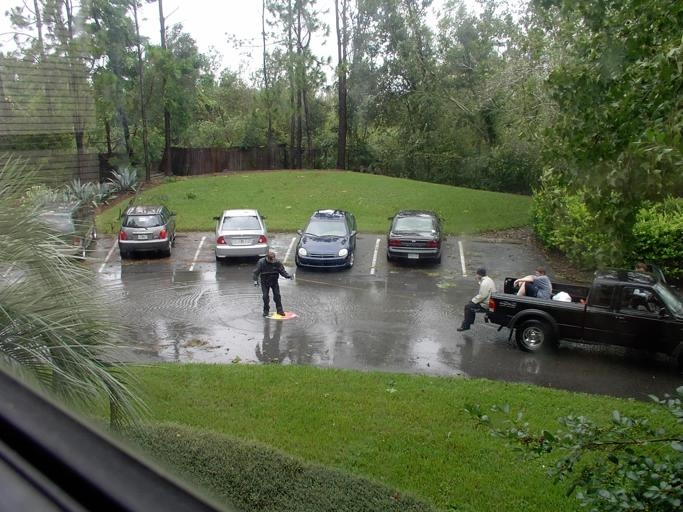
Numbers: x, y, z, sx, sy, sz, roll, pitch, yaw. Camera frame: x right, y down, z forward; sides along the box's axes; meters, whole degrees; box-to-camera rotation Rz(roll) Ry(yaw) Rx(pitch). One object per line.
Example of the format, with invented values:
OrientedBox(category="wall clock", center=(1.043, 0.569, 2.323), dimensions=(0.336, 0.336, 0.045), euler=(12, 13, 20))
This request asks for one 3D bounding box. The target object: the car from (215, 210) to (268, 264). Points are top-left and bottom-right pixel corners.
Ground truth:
OrientedBox(category="car", center=(-3.742, -0.819, 20.267), dimensions=(1.787, 1.550, 1.566), euler=(0, 9, -7))

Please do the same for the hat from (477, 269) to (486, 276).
OrientedBox(category="hat", center=(3.360, 0.388, 13.030), dimensions=(0.152, 0.188, 0.203), euler=(0, -2, 18))

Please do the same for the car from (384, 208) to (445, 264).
OrientedBox(category="car", center=(2.774, -0.620, 20.490), dimensions=(1.990, 1.779, 2.095), euler=(3, 9, 10))

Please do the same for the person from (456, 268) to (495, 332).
OrientedBox(category="person", center=(3.507, 1.199, 14.244), dimensions=(0.966, 1.841, 0.767), euler=(15, 22, 28))

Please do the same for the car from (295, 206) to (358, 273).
OrientedBox(category="car", center=(-0.530, -0.591, 19.971), dimensions=(1.948, 1.885, 2.927), euler=(2, 9, 5))

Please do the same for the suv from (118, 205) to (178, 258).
OrientedBox(category="suv", center=(-7.597, -0.941, 21.073), dimensions=(1.938, 1.968, 2.118), euler=(-2, 10, -20))
